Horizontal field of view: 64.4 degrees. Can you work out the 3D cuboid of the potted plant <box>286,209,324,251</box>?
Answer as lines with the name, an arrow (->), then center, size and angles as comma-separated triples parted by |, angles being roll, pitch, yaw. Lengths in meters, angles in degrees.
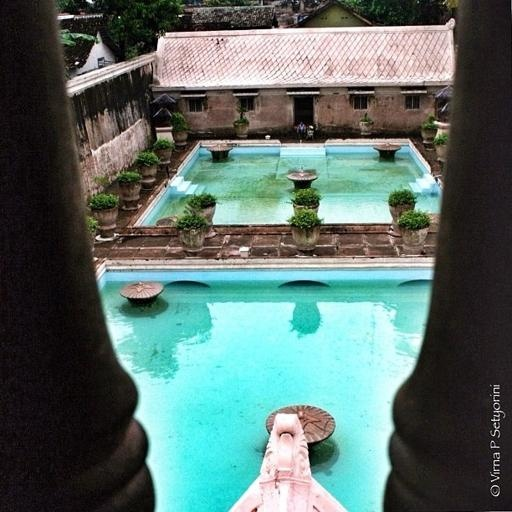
potted plant -> 1.234, -0.658, 10.299 | 1.084, 1.119, 0.953 | -1, 12, -2

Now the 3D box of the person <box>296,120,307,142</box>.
person -> 2.222, -6.090, 19.790 | 0.515, 0.745, 1.534 | 0, 29, 6

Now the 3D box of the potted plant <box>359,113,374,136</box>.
potted plant -> 5.298, -6.268, 19.408 | 0.680, 0.922, 0.543 | 5, 31, 15

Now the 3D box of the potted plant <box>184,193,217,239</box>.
potted plant -> -1.408, -1.139, 11.162 | 1.079, 1.332, 1.136 | 0, 17, 1

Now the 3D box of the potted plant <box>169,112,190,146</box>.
potted plant -> -3.616, -6.021, 19.262 | 0.744, 1.432, 1.112 | -1, 29, 5

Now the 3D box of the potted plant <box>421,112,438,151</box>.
potted plant -> 7.717, -5.573, 18.016 | 0.642, 1.167, 1.322 | 8, 31, 20

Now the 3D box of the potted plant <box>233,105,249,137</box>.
potted plant -> -0.688, -6.474, 19.814 | 0.612, 1.389, 0.712 | 7, 31, 18

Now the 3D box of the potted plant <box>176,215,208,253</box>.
potted plant -> -1.613, -0.599, 10.569 | 0.971, 0.962, 0.890 | 0, 26, -1
